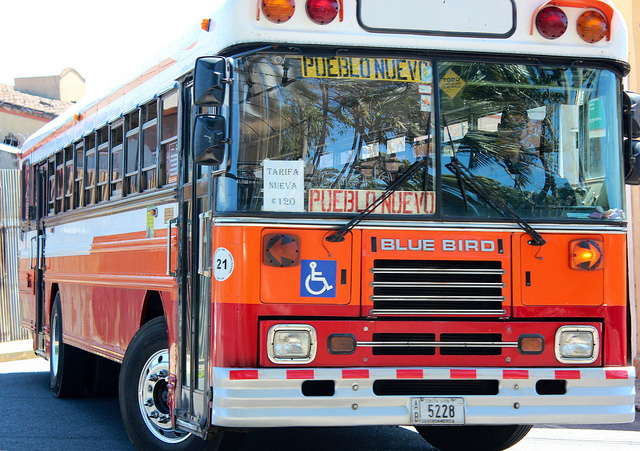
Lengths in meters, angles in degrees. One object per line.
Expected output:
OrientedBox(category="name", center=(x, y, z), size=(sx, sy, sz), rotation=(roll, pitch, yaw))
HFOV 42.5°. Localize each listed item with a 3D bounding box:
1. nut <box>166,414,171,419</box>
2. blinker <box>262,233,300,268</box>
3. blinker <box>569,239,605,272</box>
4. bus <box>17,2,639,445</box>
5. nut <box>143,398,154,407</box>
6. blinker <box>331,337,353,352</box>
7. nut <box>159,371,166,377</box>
OrientedBox(category="nut", center=(-1.469, 1.867, 8.026), size=(0.022, 0.051, 0.132), rotation=(1, -2, -22))
OrientedBox(category="blinker", center=(-0.328, 0.215, 6.958), size=(0.309, 0.274, 0.070), rotation=(1, -2, -16))
OrientedBox(category="blinker", center=(2.349, 0.256, 7.245), size=(0.281, 0.331, 0.075), rotation=(-3, 18, 26))
OrientedBox(category="bus", center=(0.311, 0.066, 7.506), size=(1.943, 1.879, 5.067), rotation=(0, 0, -19))
OrientedBox(category="nut", center=(-1.701, 1.769, 8.209), size=(0.081, 0.081, 0.021), rotation=(-4, -15, 22))
OrientedBox(category="blinker", center=(0.188, 1.013, 6.982), size=(0.173, 0.117, 0.036), rotation=(4, -3, -2))
OrientedBox(category="nut", center=(-1.534, 1.469, 8.121), size=(0.042, 0.083, 0.044), rotation=(1, 5, 20))
